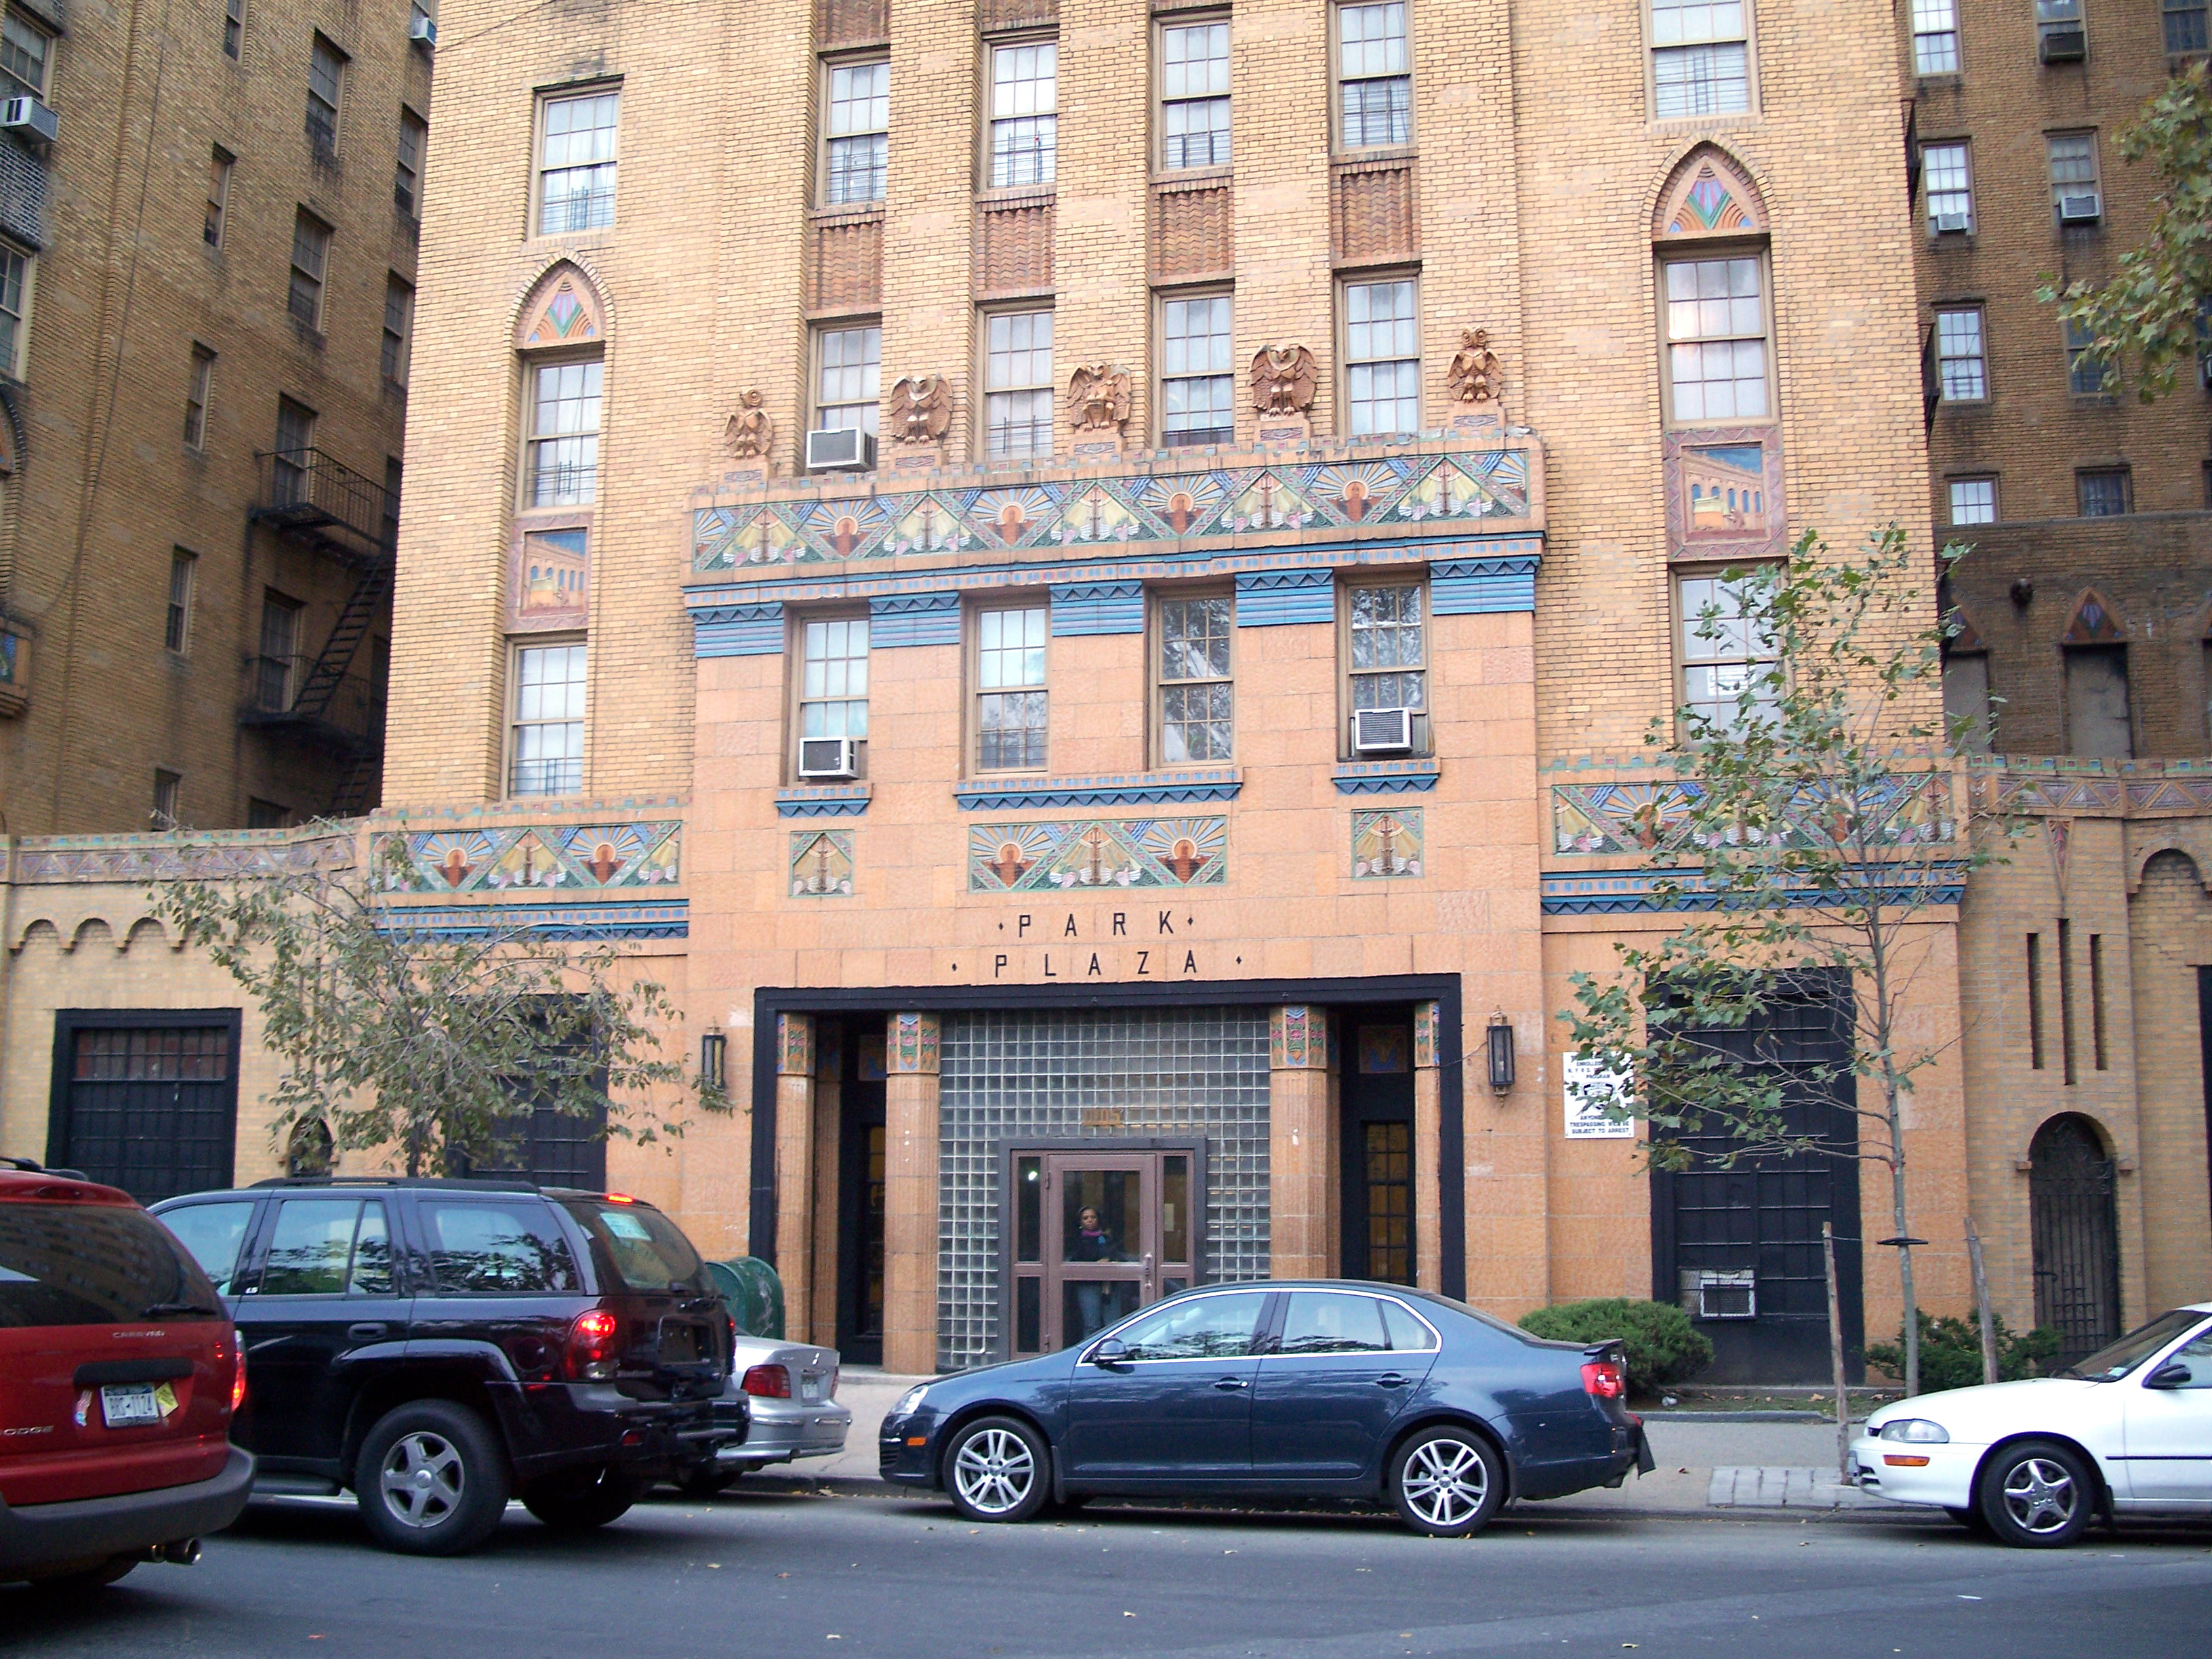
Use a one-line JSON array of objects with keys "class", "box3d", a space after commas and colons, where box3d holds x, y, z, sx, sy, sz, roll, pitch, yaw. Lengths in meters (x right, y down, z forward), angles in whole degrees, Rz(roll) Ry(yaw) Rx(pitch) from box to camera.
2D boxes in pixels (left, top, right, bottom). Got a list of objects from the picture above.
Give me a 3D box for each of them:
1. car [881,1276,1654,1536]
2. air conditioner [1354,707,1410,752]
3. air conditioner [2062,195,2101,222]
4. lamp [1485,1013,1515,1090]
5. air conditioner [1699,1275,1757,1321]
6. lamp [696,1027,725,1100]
[{"class": "car", "box3d": [1.642, 5.319, 25.858, 6.263, 1.812, 2.543, 0, -17, 7]}, {"class": "air conditioner", "box3d": [3.272, -1.178, 33.681, 0.683, 0.589, 0.463, 0, -15, 2]}, {"class": "air conditioner", "box3d": [17.644, -11.136, 51.658, 0.517, 0.474, 0.322, -3, -12, 23]}, {"class": "lamp", "box3d": [4.544, 2.586, 32.796, 0.320, 0.848, 0.261, -2, -15, 9]}, {"class": "air conditioner", "box3d": [7.096, 5.290, 32.481, 0.550, 0.413, 0.169, -1, -10, 8]}, {"class": "lamp", "box3d": [-4.724, 2.876, 34.747, 0.351, 0.826, 0.352, 1, -15, -2]}]
